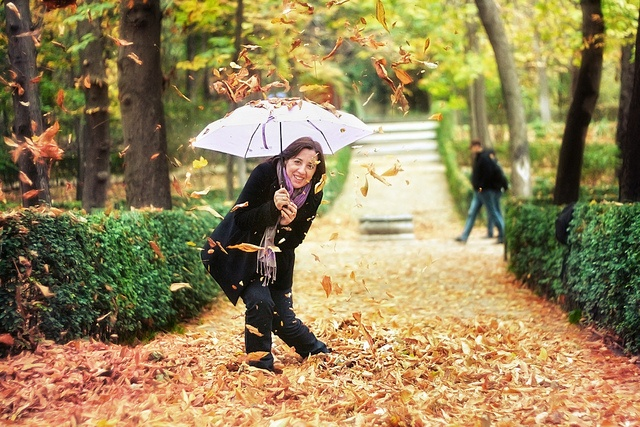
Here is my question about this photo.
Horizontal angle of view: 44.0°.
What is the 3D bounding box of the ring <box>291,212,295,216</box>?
[{"bbox_3d":[-0.345,0.004,9.986,0.038,0.043,0.032,-3,4,-5],"label":"ring"}]
